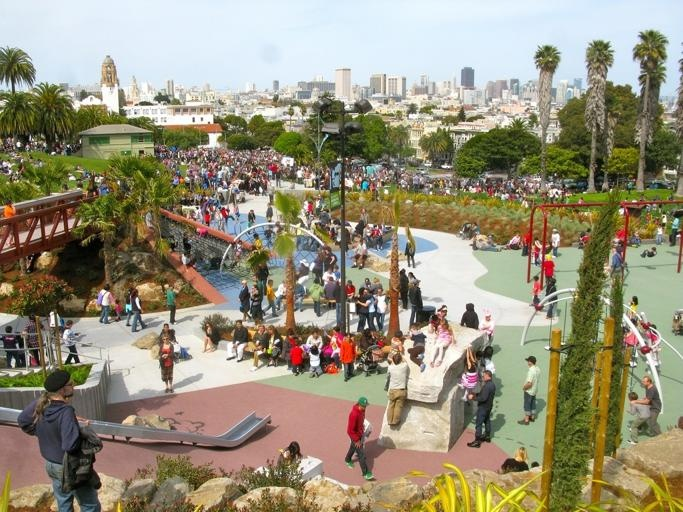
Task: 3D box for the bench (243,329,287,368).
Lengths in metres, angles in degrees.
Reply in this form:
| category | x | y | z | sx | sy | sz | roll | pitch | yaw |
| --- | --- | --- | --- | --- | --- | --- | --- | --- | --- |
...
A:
| category | x | y | z | sx | sy | sz | roll | pitch | yaw |
| --- | --- | --- | --- | --- | --- | --- | --- | --- | --- |
| bench | -2.185 | 2.660 | 20.505 | 1.536 | 0.983 | 0.861 | 7 | 2 | -1 |

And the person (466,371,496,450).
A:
| category | x | y | z | sx | sy | sz | roll | pitch | yaw |
| --- | --- | --- | --- | --- | --- | --- | --- | --- | --- |
| person | 3.216 | 3.513 | 15.816 | 0.395 | 1.689 | 0.704 | 11 | 19 | 42 |

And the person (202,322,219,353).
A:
| category | x | y | z | sx | sy | sz | roll | pitch | yaw |
| --- | --- | --- | --- | --- | --- | --- | --- | --- | --- |
| person | -4.084 | 2.490 | 21.439 | 0.504 | 0.874 | 0.443 | -5 | 14 | -14 |

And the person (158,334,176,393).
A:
| category | x | y | z | sx | sy | sz | roll | pitch | yaw |
| --- | --- | --- | --- | --- | --- | --- | --- | --- | --- |
| person | -4.756 | 2.907 | 18.739 | 0.403 | 1.567 | 0.582 | -6 | 14 | -16 |

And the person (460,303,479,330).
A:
| category | x | y | z | sx | sy | sz | roll | pitch | yaw |
| --- | --- | --- | --- | --- | --- | --- | --- | --- | --- |
| person | 3.746 | 1.786 | 19.989 | 0.484 | 0.796 | 0.850 | 3 | 15 | 17 |

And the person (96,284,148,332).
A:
| category | x | y | z | sx | sy | sz | roll | pitch | yaw |
| --- | --- | --- | --- | --- | --- | --- | --- | --- | --- |
| person | -7.891 | 1.925 | 24.716 | 1.086 | 1.114 | 0.518 | 15 | 26 | 27 |

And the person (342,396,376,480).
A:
| category | x | y | z | sx | sy | sz | roll | pitch | yaw |
| --- | --- | --- | --- | --- | --- | --- | --- | --- | --- |
| person | 0.363 | 3.806 | 14.872 | 0.597 | 1.860 | 0.965 | -2 | 14 | -1 |

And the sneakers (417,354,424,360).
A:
| category | x | y | z | sx | sy | sz | roll | pitch | yaw |
| --- | --- | --- | --- | --- | --- | --- | --- | --- | --- |
| sneakers | 1.929 | 2.453 | 16.710 | 0.140 | 0.093 | 0.288 | 3 | 16 | 16 |

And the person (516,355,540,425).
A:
| category | x | y | z | sx | sy | sz | roll | pitch | yaw |
| --- | --- | --- | --- | --- | --- | --- | --- | --- | --- |
| person | 4.544 | 3.190 | 16.612 | 0.389 | 1.669 | 0.598 | 2 | 14 | 15 |

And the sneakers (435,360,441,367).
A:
| category | x | y | z | sx | sy | sz | roll | pitch | yaw |
| --- | --- | --- | --- | --- | --- | --- | --- | --- | --- |
| sneakers | 2.281 | 2.560 | 16.259 | 0.064 | 0.079 | 0.183 | -4 | 10 | 33 |

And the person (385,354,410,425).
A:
| category | x | y | z | sx | sy | sz | roll | pitch | yaw |
| --- | --- | --- | --- | --- | --- | --- | --- | --- | --- |
| person | 1.269 | 3.077 | 15.764 | 0.502 | 1.803 | 0.437 | -1 | 14 | 4 |

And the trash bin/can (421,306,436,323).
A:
| category | x | y | z | sx | sy | sz | roll | pitch | yaw |
| --- | --- | --- | --- | --- | --- | --- | --- | --- | --- |
| trash bin/can | 2.796 | 1.883 | 22.066 | 0.429 | 0.496 | 0.437 | 4 | 10 | 13 |

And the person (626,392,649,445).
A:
| category | x | y | z | sx | sy | sz | roll | pitch | yaw |
| --- | --- | --- | --- | --- | --- | --- | --- | --- | --- |
| person | 6.764 | 3.683 | 15.634 | 0.466 | 1.020 | 0.928 | 5 | 16 | 25 |

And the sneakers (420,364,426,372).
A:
| category | x | y | z | sx | sy | sz | roll | pitch | yaw |
| --- | --- | --- | --- | --- | --- | --- | --- | --- | --- |
| sneakers | 1.936 | 2.656 | 16.331 | 0.080 | 0.163 | 0.098 | -4 | -10 | 16 |
